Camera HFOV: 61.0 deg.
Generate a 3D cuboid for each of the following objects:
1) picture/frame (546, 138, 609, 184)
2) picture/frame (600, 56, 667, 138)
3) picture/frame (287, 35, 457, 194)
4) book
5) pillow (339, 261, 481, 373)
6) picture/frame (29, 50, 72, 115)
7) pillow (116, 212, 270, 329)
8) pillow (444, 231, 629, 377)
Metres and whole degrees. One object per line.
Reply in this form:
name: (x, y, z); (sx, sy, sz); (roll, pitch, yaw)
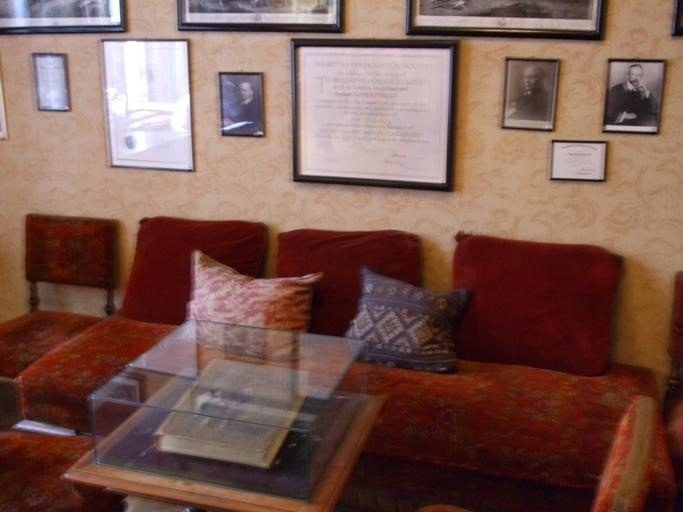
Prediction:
picture/frame: (1.103, -0.445, 2.646); (0.218, 0.156, 0.022); (2, 7, 5)
picture/frame: (1.313, -0.716, 2.556); (0.340, 0.429, 0.056); (5, 13, 14)
picture/frame: (0.178, -0.709, 2.783); (0.779, 0.645, 0.051); (3, 13, 12)
book: (-0.294, 0.440, 1.696); (0.381, 0.153, 0.349); (3, 13, 9)
pillow: (0.288, 0.113, 2.487); (0.661, 0.426, 0.338); (7, 16, 14)
picture/frame: (-1.584, -0.943, 3.141); (0.211, 0.294, 0.027); (5, 14, 16)
pillow: (-0.753, -0.007, 3.034); (0.961, 0.669, 0.483); (2, 10, 13)
pillow: (0.937, 0.187, 2.757); (0.697, 0.598, 0.176); (5, 5, 17)
